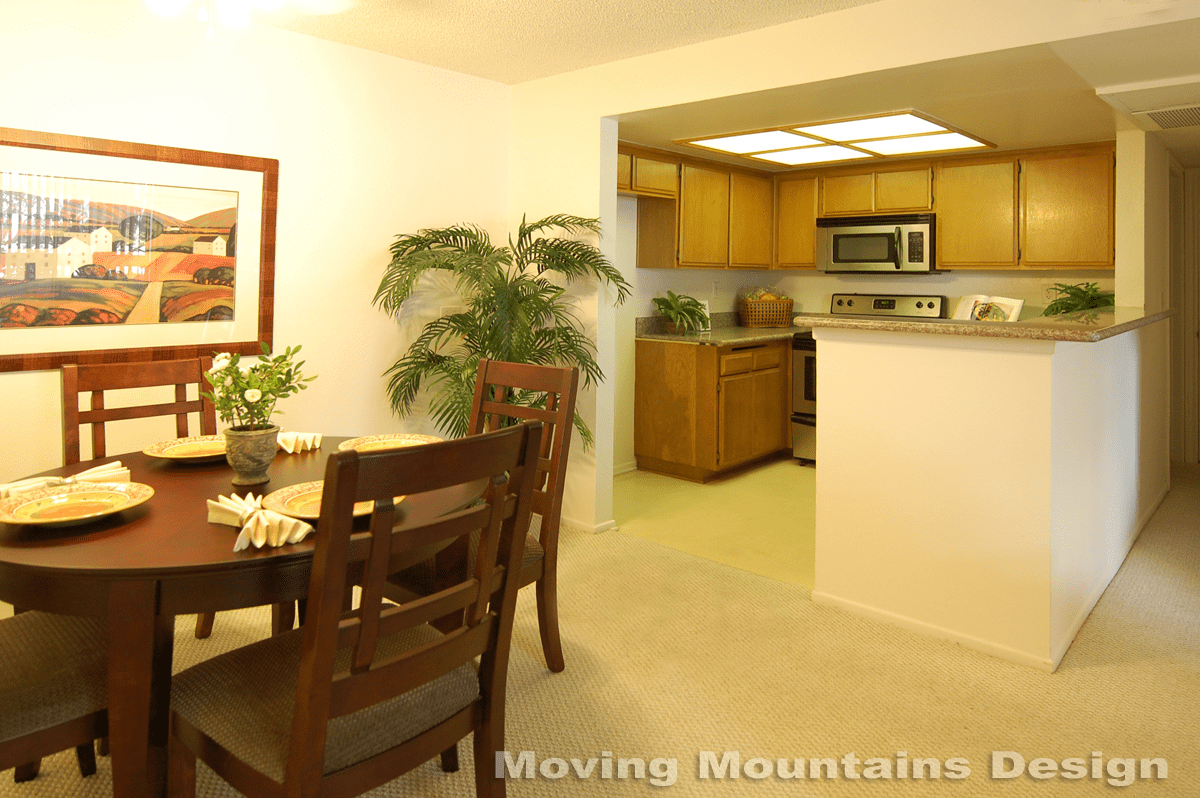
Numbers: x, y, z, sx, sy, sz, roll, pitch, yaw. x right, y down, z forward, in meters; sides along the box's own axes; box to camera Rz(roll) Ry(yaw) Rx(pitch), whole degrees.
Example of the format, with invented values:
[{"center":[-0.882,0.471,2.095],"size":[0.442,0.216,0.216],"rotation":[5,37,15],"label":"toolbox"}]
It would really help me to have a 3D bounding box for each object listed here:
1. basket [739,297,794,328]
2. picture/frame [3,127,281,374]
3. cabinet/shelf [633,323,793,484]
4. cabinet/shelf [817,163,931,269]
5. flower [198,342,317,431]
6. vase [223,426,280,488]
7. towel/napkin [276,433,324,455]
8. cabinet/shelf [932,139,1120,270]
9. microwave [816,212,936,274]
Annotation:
[{"center":[1.482,-0.744,7.031],"size":[0.328,0.187,0.318],"rotation":[0,4,5],"label":"basket"},{"center":[-2.302,-0.732,3.877],"size":[1.457,0.958,0.034],"rotation":[-1,9,-41],"label":"picture/frame"},{"center":[0.923,0.022,6.647],"size":[1.045,1.345,1.944],"rotation":[1,3,35],"label":"cabinet/shelf"},{"center":[2.257,-1.477,6.412],"size":[0.936,0.816,0.465],"rotation":[1,2,41],"label":"cabinet/shelf"},{"center":[-1.504,-0.054,3.425],"size":[0.421,0.350,0.414],"rotation":[-10,10,-18],"label":"flower"},{"center":[-1.259,0.203,2.858],"size":[0.222,0.203,0.213],"rotation":[-1,3,31],"label":"vase"},{"center":[-1.290,0.181,3.310],"size":[0.112,0.040,0.116],"rotation":[4,9,32],"label":"towel/napkin"},{"center":[3.157,-1.424,5.770],"size":[1.096,0.734,0.385],"rotation":[2,4,36],"label":"cabinet/shelf"},{"center":[2.226,-1.262,6.454],"size":[0.928,0.454,0.177],"rotation":[7,12,42],"label":"microwave"}]
